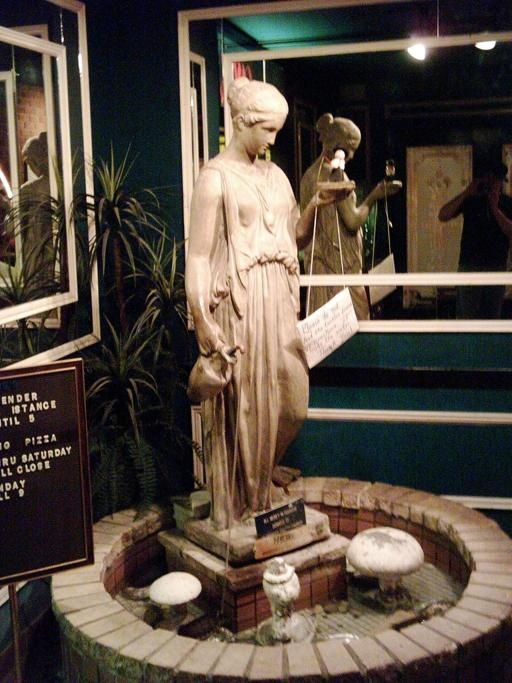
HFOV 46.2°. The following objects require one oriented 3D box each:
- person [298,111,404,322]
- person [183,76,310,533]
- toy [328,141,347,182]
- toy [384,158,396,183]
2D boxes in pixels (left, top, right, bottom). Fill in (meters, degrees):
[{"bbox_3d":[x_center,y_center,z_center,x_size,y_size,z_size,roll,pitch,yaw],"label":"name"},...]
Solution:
[{"bbox_3d":[0.477,-0.649,2.889,0.329,1.284,0.351,-5,27,-6],"label":"person"},{"bbox_3d":[-0.021,-0.091,2.108,0.417,1.574,0.440,-1,3,-3],"label":"person"},{"bbox_3d":[0.395,-0.860,2.864,0.079,0.215,0.252,-1,4,8],"label":"toy"},{"bbox_3d":[0.657,-0.842,2.925,0.051,0.099,0.016,0,3,18],"label":"toy"}]
